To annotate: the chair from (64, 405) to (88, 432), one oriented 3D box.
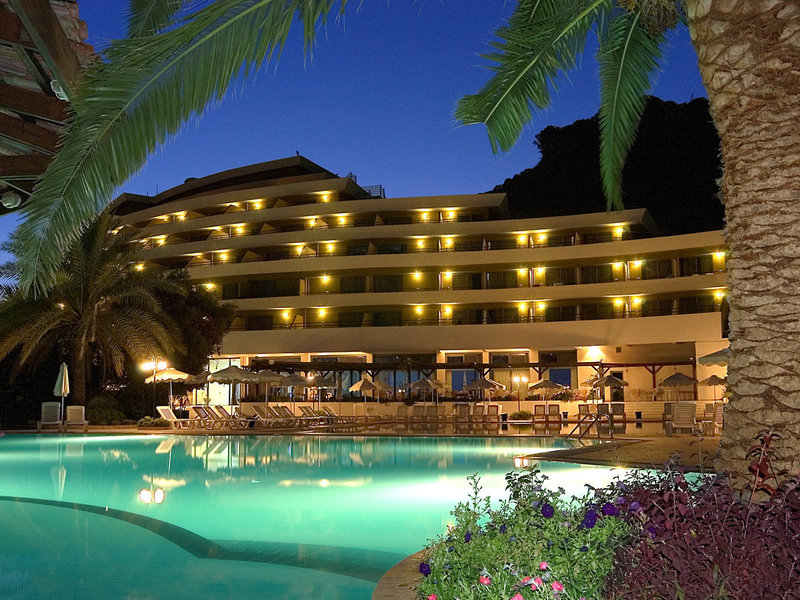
[{"bbox_3d":[-15.827,5.796,29.673,1.392,1.208,1.349,1,-5,-14],"label":"chair"}]
